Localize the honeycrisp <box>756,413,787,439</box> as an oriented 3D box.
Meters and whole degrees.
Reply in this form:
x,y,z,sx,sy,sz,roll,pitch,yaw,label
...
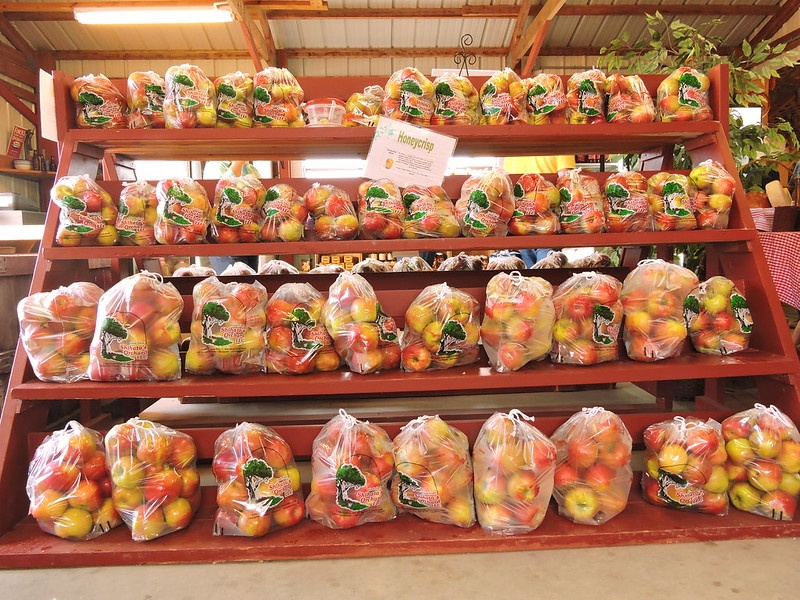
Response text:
x,y,z,sx,sy,sz,roll,pitch,yaw,label
1.347,0.451,2.036,0.077,0.044,0.081,-8,34,-16,honeycrisp

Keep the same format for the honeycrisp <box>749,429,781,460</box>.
x,y,z,sx,sy,sz,roll,pitch,yaw,label
1.306,0.514,2.030,0.102,0.077,0.069,29,43,31,honeycrisp

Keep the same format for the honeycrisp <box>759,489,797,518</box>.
x,y,z,sx,sy,sz,roll,pitch,yaw,label
1.349,0.726,2.007,0.121,0.083,0.076,2,36,-3,honeycrisp

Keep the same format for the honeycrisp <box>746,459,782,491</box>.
x,y,z,sx,sy,sz,roll,pitch,yaw,label
1.300,0.618,2.015,0.074,0.089,0.073,-39,29,19,honeycrisp
